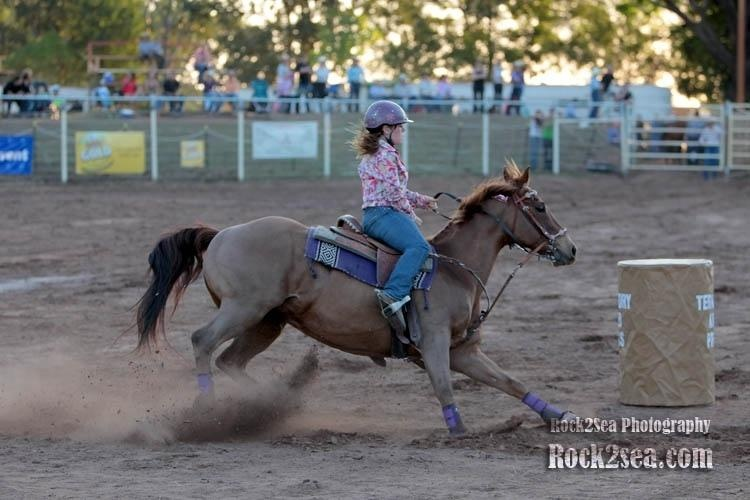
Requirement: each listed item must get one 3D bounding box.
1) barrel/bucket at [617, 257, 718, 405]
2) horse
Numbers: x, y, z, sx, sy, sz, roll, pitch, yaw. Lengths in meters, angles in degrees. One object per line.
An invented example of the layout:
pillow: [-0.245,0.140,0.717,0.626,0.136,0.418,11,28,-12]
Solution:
barrel/bucket: [6.581,1.812,40.453,2.265,2.971,2.434,0,3,0]
horse: [-0.582,1.115,39.350,10.006,5.719,2.092,2,-9,4]
